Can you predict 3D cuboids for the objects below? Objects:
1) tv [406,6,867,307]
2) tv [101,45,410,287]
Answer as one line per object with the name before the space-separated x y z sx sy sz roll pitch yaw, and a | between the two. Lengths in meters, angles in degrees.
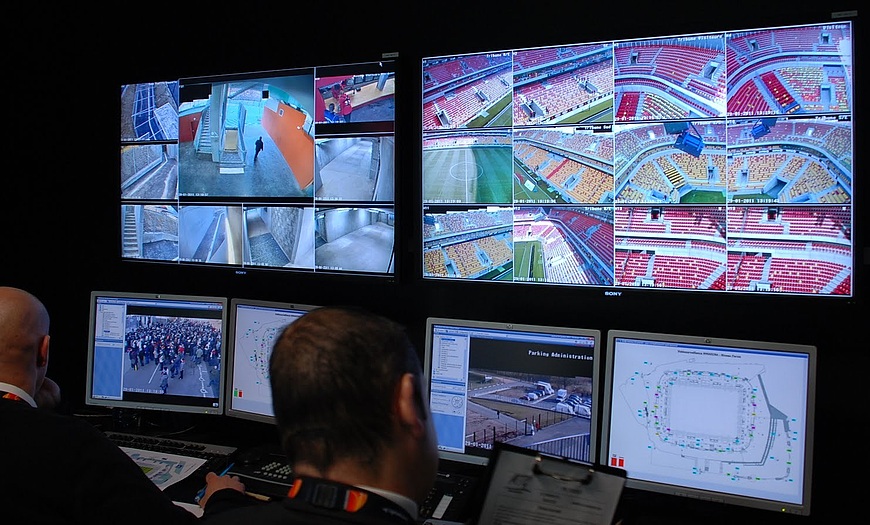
tv | 1.094 -0.540 3.183 1.719 0.938 0.015 1 3 19
tv | -0.992 -0.578 3.734 1.620 0.890 0.014 2 4 22
